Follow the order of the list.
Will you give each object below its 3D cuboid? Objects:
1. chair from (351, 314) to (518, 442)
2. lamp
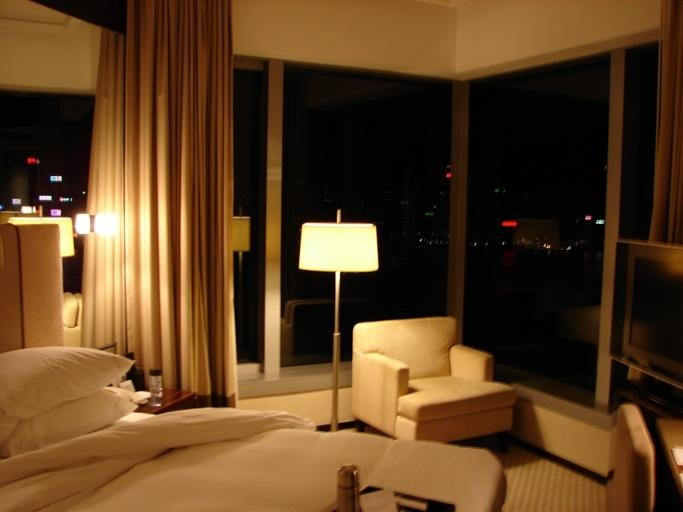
[{"bbox_3d":[0.704,0.973,4.419,1.007,0.895,0.958,1,-1,-26],"label":"chair"},{"bbox_3d":[-0.032,0.618,4.348,0.544,2.060,0.403,-1,30,-4],"label":"lamp"}]
